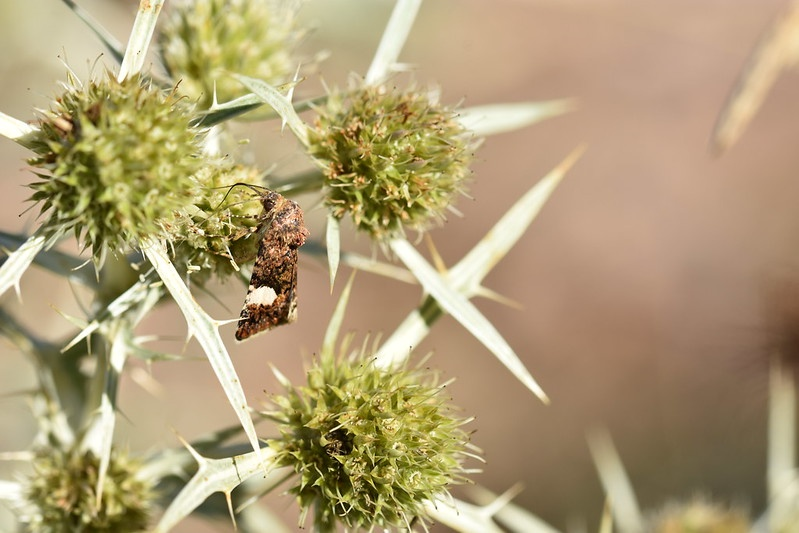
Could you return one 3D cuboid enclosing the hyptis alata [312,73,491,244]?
[{"bbox_3d":[-0.086,-0.728,5.628,1.090,1.087,0.831,4,-25,-30],"label":"hyptis alata"}]

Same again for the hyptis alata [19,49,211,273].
[{"bbox_3d":[-1.740,-0.743,4.967,1.022,1.156,0.799,2,-42,7],"label":"hyptis alata"}]
